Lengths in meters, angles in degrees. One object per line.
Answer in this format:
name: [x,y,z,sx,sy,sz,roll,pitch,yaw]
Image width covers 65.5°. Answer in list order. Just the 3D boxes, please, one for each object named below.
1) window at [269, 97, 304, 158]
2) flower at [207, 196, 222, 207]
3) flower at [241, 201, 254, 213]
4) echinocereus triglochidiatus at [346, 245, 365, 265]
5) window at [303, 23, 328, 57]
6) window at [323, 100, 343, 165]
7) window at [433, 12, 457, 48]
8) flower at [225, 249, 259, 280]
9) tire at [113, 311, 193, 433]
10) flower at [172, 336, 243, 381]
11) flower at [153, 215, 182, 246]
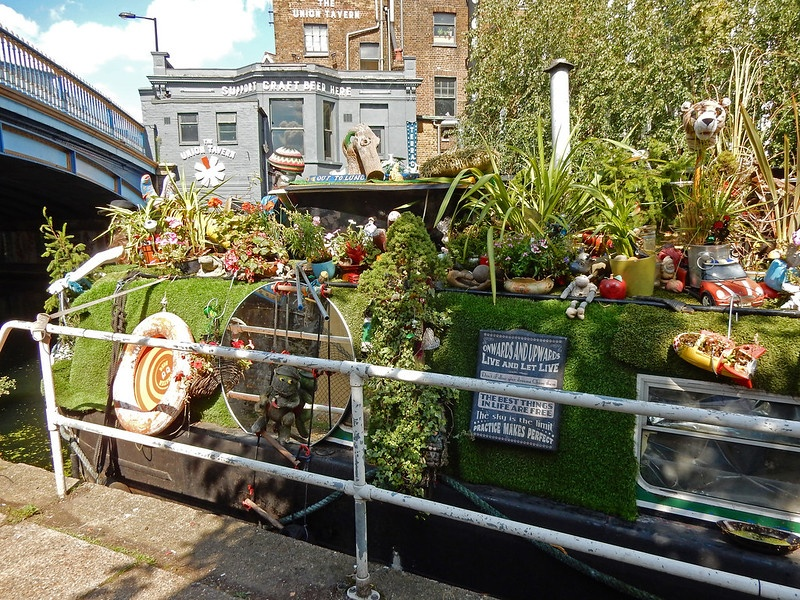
window: [-3.538,-5.362,19.369,1.086,1.984,0.078,-6,45,-15]
flower: [-2.180,-1.168,7.307,0.120,0.088,0.121,5,15,35]
flower: [-1.790,-1.095,7.312,0.134,0.123,0.244,0,6,-19]
echinocereus triglochidiatus: [-0.441,-0.480,6.236,0.192,0.210,0.191,-12,16,-41]
window: [-3.043,-9.435,22.191,1.110,1.314,0.110,0,26,-6]
window: [-2.187,-5.422,19.943,0.271,1.890,1.080,3,6,17]
window: [1.658,-10.095,22.949,1.249,1.549,0.131,0,8,-2]
flower: [-1.677,-0.376,6.505,0.325,0.327,0.126,5,10,23]
tire: [-2.553,0.823,6.375,1.255,1.278,0.338,-16,-25,34]
flower: [-1.927,0.651,6.213,0.463,0.195,0.532,5,14,12]
flower: [-2.652,-0.808,7.113,0.298,0.332,0.403,0,6,-19]
